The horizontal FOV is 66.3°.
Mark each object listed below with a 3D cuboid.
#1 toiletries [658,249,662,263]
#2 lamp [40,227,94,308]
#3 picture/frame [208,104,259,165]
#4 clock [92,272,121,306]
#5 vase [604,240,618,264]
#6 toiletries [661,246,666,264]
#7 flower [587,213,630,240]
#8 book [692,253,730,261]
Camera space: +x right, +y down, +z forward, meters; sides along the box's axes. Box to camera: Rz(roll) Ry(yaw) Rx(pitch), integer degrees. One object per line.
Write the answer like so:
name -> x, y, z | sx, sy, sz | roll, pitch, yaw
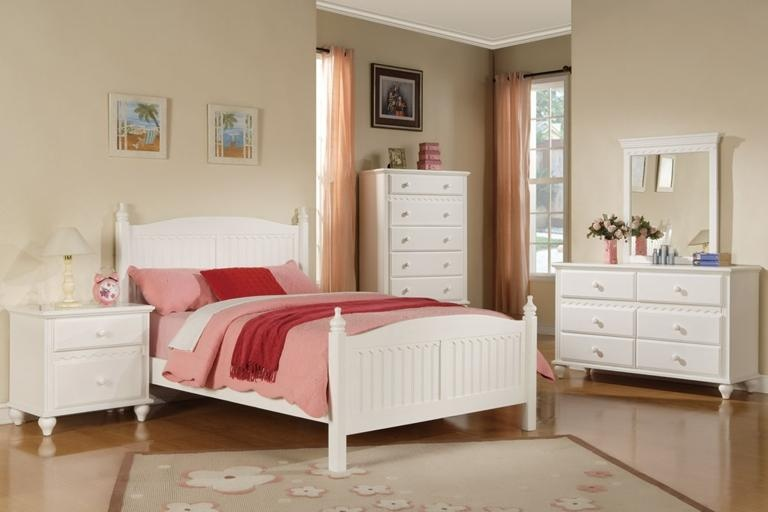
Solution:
toiletries -> 2.598, -0.010, 5.548 | 0.041, 0.129, 0.023 | 0, 2, -1
lamp -> -2.431, 0.068, 4.547 | 0.314, 0.602, 0.435 | -1, 2, -29
picture/frame -> -1.418, -1.156, 5.506 | 0.689, 0.686, 0.032 | -1, 1, -36
clock -> -2.181, 0.265, 4.653 | 0.271, 0.315, 0.158 | 3, -5, -44
vase -> 2.243, -0.052, 5.790 | 0.112, 0.230, 0.164 | 0, 2, 19
toiletries -> 2.649, -0.024, 5.542 | 0.070, 0.171, 0.042 | 0, 2, -1
flower -> 2.285, -0.299, 5.871 | 0.302, 0.167, 0.298 | -4, 2, -43
book -> 2.987, 0.005, 5.346 | 0.304, 0.072, 0.271 | 0, 1, 26
